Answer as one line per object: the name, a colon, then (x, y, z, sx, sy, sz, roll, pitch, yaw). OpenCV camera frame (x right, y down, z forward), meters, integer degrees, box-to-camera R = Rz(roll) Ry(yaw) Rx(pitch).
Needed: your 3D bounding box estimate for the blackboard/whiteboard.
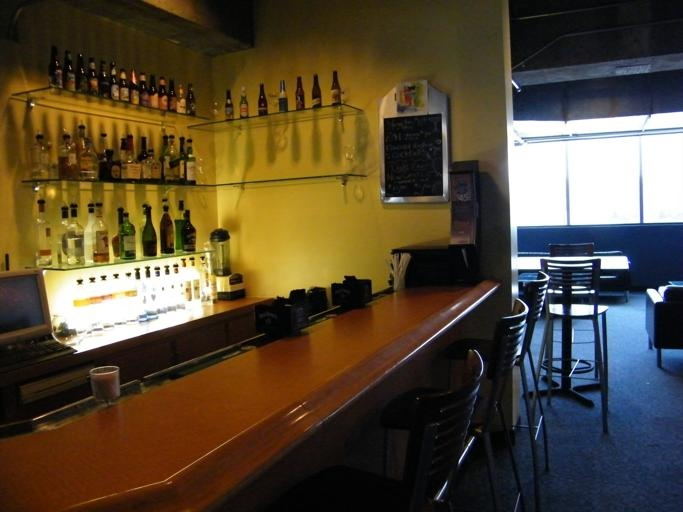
blackboard/whiteboard: (0.537, -0.853, 3.970, 0.512, 0.862, 0.186, 0, 12, 14)

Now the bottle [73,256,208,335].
bottle: (-1.481, 0.275, 4.015, 0.465, 0.406, 1.205, 8, 16, 41)

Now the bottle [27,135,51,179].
bottle: (-2.012, -0.660, 3.549, 0.113, 0.304, 0.107, -1, 7, 0)

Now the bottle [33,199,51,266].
bottle: (-2.004, -0.144, 3.543, 0.096, 0.388, 0.202, -6, 12, -17)

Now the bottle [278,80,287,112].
bottle: (-0.484, -1.305, 4.334, 0.083, 0.278, 0.278, -4, 12, -6)

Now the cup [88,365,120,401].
cup: (-0.905, 0.485, 2.084, 0.118, 0.135, 0.125, 0, -1, 0)

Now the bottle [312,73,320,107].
bottle: (-0.202, -1.309, 4.215, 0.083, 0.271, 0.300, -3, 12, -2)
